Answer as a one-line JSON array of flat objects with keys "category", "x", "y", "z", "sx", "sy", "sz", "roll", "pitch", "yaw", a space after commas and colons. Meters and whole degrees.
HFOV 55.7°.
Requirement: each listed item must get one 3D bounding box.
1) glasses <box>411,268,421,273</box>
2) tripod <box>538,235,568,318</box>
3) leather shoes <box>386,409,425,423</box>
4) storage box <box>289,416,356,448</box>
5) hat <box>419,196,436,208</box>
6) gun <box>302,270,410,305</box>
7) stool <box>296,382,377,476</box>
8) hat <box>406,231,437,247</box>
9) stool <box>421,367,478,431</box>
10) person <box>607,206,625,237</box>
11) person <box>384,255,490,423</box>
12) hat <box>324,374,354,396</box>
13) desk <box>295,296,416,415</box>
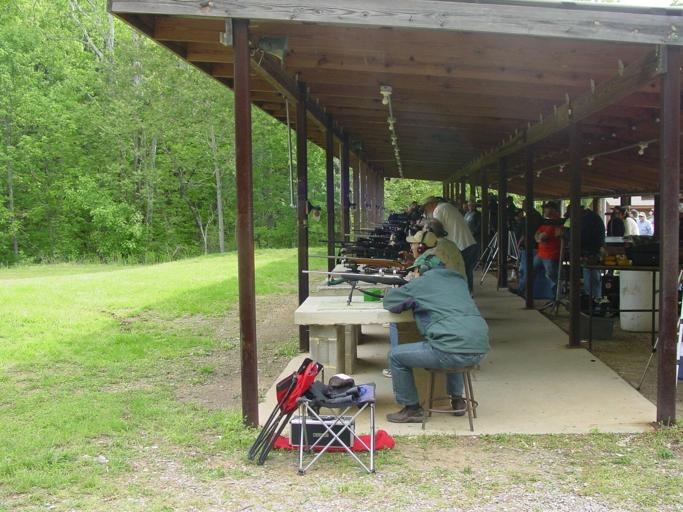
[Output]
[{"category": "glasses", "x": 0.779, "y": 0.155, "z": 6.691, "sx": 0.048, "sy": 0.018, "sz": 0.061, "roll": 23, "pitch": -4, "yaw": -20}, {"category": "tripod", "x": 3.718, "y": 0.162, "z": 11.605, "sx": 0.455, "sy": 1.606, "sz": 2.037, "roll": 0, "pitch": 2, "yaw": 17}, {"category": "leather shoes", "x": 0.648, "y": 1.606, "z": 6.560, "sx": 0.411, "sy": 0.156, "sz": 0.136, "roll": 1, "pitch": 0, "yaw": 4}, {"category": "storage box", "x": -0.178, "y": 1.575, "z": 5.662, "sx": 0.506, "sy": 0.189, "sz": 0.328, "roll": 1, "pitch": -2, "yaw": 6}, {"category": "hat", "x": 1.280, "y": -0.798, "z": 9.505, "sx": 0.199, "sy": 0.171, "sz": 0.477, "roll": 0, "pitch": 2, "yaw": 8}, {"category": "gun", "x": 0.026, "y": 0.320, "z": 6.866, "sx": 1.392, "sy": 0.359, "sz": 0.386, "roll": 1, "pitch": 3, "yaw": 2}, {"category": "stool", "x": -0.042, "y": 1.538, "z": 5.841, "sx": 0.749, "sy": 0.568, "sz": 0.779, "roll": 0, "pitch": 0, "yaw": 1}, {"category": "hat", "x": 0.838, "y": -0.180, "z": 6.765, "sx": 0.258, "sy": 0.117, "sz": 0.158, "roll": 13, "pitch": 3, "yaw": 12}, {"category": "stool", "x": 1.121, "y": 1.435, "z": 6.556, "sx": 0.700, "sy": 0.735, "sz": 0.643, "roll": 0, "pitch": -9, "yaw": 0}, {"category": "person", "x": 6.381, "y": -0.809, "z": 14.977, "sx": 0.349, "sy": 0.699, "sz": 1.744, "roll": 0, "pitch": 2, "yaw": 23}, {"category": "person", "x": 0.911, "y": 0.897, "z": 6.303, "sx": 0.999, "sy": 1.539, "sz": 0.402, "roll": 0, "pitch": 2, "yaw": 2}, {"category": "hat", "x": -0.014, "y": 1.184, "z": 5.954, "sx": 0.246, "sy": 0.146, "sz": 0.134, "roll": -2, "pitch": -8, "yaw": -21}, {"category": "desk", "x": 0.143, "y": 1.035, "z": 6.849, "sx": 1.200, "sy": 0.646, "sz": 1.105, "roll": 0, "pitch": 4, "yaw": 4}]
